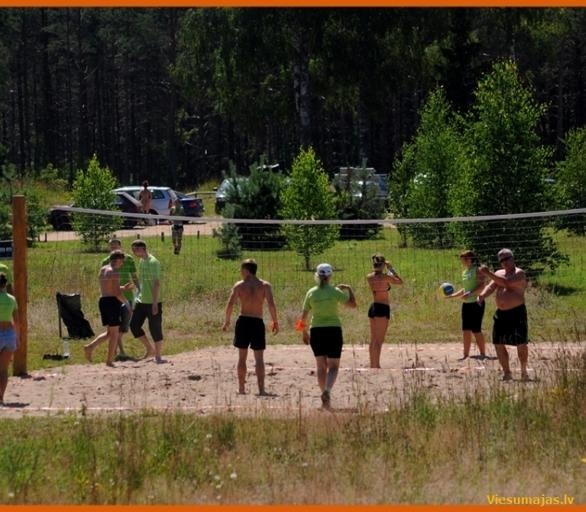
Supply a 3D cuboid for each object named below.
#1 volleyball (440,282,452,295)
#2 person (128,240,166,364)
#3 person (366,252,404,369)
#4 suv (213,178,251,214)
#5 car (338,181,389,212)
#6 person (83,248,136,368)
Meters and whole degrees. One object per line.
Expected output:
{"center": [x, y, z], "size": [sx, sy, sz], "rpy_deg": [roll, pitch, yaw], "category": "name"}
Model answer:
{"center": [4.158, 0.900, 36.398], "size": [0.222, 0.369, 0.280], "rpy_deg": [-3, -1, 2], "category": "volleyball"}
{"center": [-3.986, 1.228, 36.462], "size": [0.996, 3.467, 0.715], "rpy_deg": [4, 10, 39], "category": "person"}
{"center": [2.333, 1.493, 35.907], "size": [0.671, 3.145, 0.899], "rpy_deg": [0, 9, -13], "category": "person"}
{"center": [-2.633, -2.347, 53.910], "size": [0.913, 0.975, 2.230], "rpy_deg": [-2, -1, -5], "category": "suv"}
{"center": [2.866, -2.330, 50.757], "size": [1.559, 1.451, 1.635], "rpy_deg": [3, 0, 39], "category": "car"}
{"center": [-4.927, 1.427, 36.180], "size": [1.189, 3.080, 0.872], "rpy_deg": [-5, 6, -43], "category": "person"}
